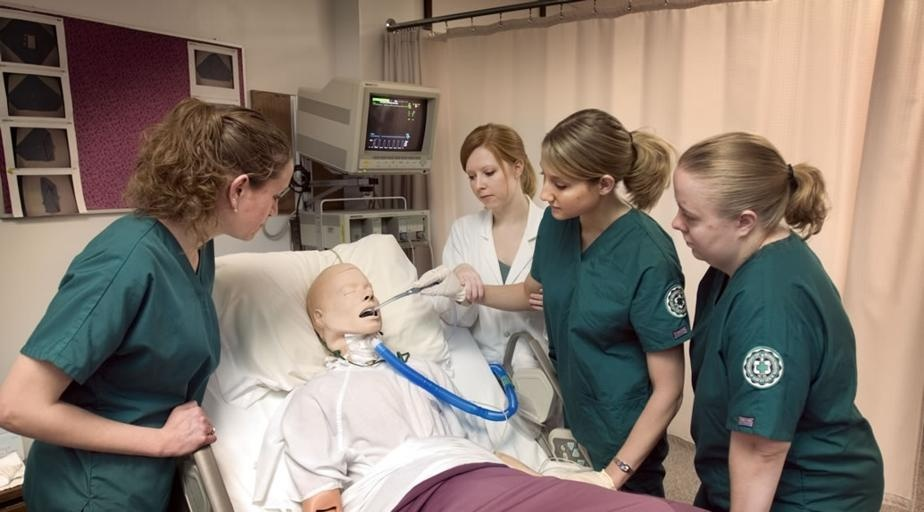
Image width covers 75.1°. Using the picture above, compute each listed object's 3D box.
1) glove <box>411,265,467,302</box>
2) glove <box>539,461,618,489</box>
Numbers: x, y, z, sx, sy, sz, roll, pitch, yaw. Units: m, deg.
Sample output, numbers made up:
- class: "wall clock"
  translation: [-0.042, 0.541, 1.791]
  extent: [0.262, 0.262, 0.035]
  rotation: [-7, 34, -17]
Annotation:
- class: "glove"
  translation: [-0.134, 0.125, 3.267]
  extent: [0.207, 0.132, 0.319]
  rotation: [9, 16, 3]
- class: "glove"
  translation: [0.525, 0.984, 2.728]
  extent: [0.218, 0.056, 0.131]
  rotation: [8, 2, 33]
